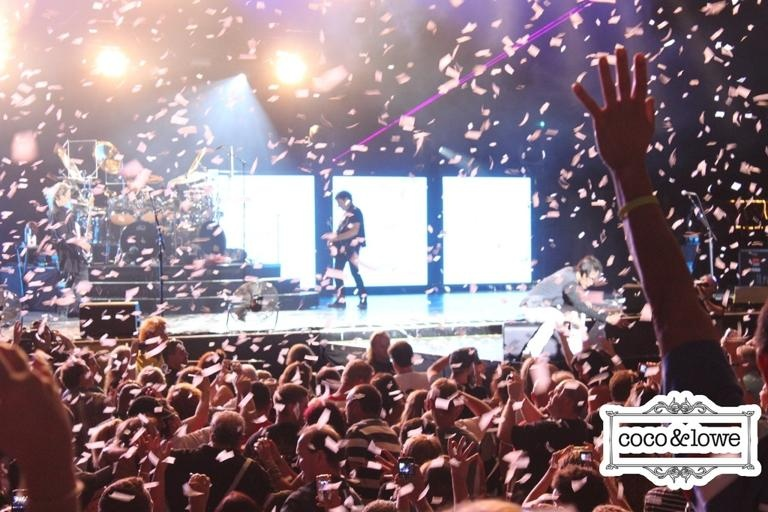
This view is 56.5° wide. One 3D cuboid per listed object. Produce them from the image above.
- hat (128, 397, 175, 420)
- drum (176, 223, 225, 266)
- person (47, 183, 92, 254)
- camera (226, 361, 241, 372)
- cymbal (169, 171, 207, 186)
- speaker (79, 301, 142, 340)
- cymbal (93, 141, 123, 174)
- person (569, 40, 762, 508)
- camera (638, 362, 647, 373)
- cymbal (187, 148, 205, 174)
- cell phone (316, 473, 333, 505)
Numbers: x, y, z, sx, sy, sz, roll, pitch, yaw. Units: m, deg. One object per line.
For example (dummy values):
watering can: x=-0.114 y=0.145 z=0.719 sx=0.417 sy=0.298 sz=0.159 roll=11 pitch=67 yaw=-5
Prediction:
hat: x=-1.789 y=1.152 z=5.472 sx=0.233 sy=0.093 sz=0.174 roll=10 pitch=-2 yaw=2
drum: x=-3.430 y=-0.241 z=13.380 sx=0.873 sy=0.795 sz=0.533 roll=0 pitch=-5 yaw=-17
person: x=-5.906 y=-0.711 z=13.451 sx=0.628 sy=1.473 sz=1.227 roll=2 pitch=-6 yaw=-38
camera: x=-1.388 y=1.015 z=6.571 sx=0.143 sy=0.074 sz=0.074 roll=-5 pitch=-13 yaw=-4
cymbal: x=-3.783 y=-1.461 z=13.743 sx=0.406 sy=0.099 sz=0.417 roll=-8 pitch=-1 yaw=26
speaker: x=-3.344 y=0.776 z=8.779 sx=0.766 sy=0.484 sz=0.408 roll=0 pitch=0 yaw=-9
cymbal: x=-5.389 y=-1.913 z=13.985 sx=0.166 sy=0.648 sz=0.520 roll=7 pitch=31 yaw=38
person: x=1.341 y=-0.139 z=3.564 sx=0.749 sy=1.770 sz=0.219 roll=-1 pitch=-5 yaw=-13
camera: x=2.524 y=1.091 z=6.981 sx=0.108 sy=0.095 sz=0.105 roll=-2 pitch=0 yaw=-30
cymbal: x=-3.754 y=-1.913 z=14.352 sx=0.133 sy=0.661 sz=0.162 roll=23 pitch=-26 yaw=-8
cell phone: x=-0.403 y=1.549 z=4.762 sx=0.095 sy=0.178 sz=0.098 roll=-1 pitch=-5 yaw=-7
